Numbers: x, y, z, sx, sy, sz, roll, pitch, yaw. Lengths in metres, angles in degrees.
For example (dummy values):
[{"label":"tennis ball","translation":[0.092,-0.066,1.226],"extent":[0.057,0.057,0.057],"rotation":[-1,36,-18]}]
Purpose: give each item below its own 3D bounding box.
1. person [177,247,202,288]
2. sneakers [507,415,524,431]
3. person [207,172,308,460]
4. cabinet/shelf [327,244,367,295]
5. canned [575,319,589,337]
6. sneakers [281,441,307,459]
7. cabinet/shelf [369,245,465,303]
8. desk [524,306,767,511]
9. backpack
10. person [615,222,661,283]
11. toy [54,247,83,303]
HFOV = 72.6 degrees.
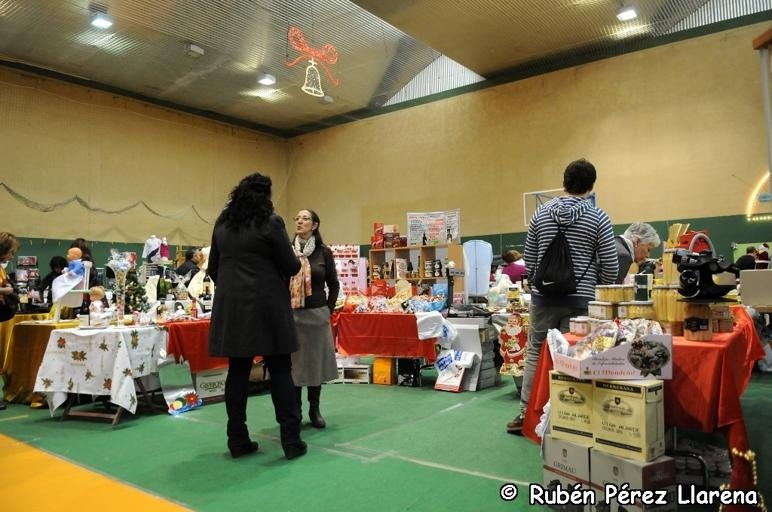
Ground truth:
[{"label":"person","translation":[-3.007,0.154,8.006],"extent":[0.313,0.580,1.777],"rotation":[1,-3,-21]},{"label":"sneakers","translation":[1.222,1.534,4.790],"extent":[0.221,0.099,0.093],"rotation":[4,-6,-8]},{"label":"person","translation":[-1.068,0.485,4.354],"extent":[0.827,2.381,0.415],"rotation":[0,-3,-10]},{"label":"cabinet/shelf","translation":[-0.843,0.243,9.560],"extent":[0.671,0.877,0.751],"rotation":[4,0,5]},{"label":"canned","translation":[1.387,0.515,3.756],"extent":[0.109,0.100,0.109],"rotation":[2,-4,3]},{"label":"sneakers","translation":[-0.763,1.602,4.350],"extent":[0.090,0.116,0.251],"rotation":[0,0,21]},{"label":"cabinet/shelf","translation":[0.543,0.148,9.326],"extent":[0.593,0.687,2.125],"rotation":[2,-3,-38]},{"label":"desk","translation":[1.835,0.850,3.663],"extent":[1.169,0.681,1.372],"rotation":[-3,-8,28]},{"label":"backpack","translation":[1.442,0.060,4.263],"extent":[0.423,0.646,0.402],"rotation":[14,25,37]},{"label":"person","translation":[2.410,-0.033,5.022],"extent":[0.339,0.583,1.526],"rotation":[-2,-3,27]},{"label":"toy","translation":[-3.615,0.216,5.983],"extent":[0.304,0.620,0.275],"rotation":[0,3,-31]}]
